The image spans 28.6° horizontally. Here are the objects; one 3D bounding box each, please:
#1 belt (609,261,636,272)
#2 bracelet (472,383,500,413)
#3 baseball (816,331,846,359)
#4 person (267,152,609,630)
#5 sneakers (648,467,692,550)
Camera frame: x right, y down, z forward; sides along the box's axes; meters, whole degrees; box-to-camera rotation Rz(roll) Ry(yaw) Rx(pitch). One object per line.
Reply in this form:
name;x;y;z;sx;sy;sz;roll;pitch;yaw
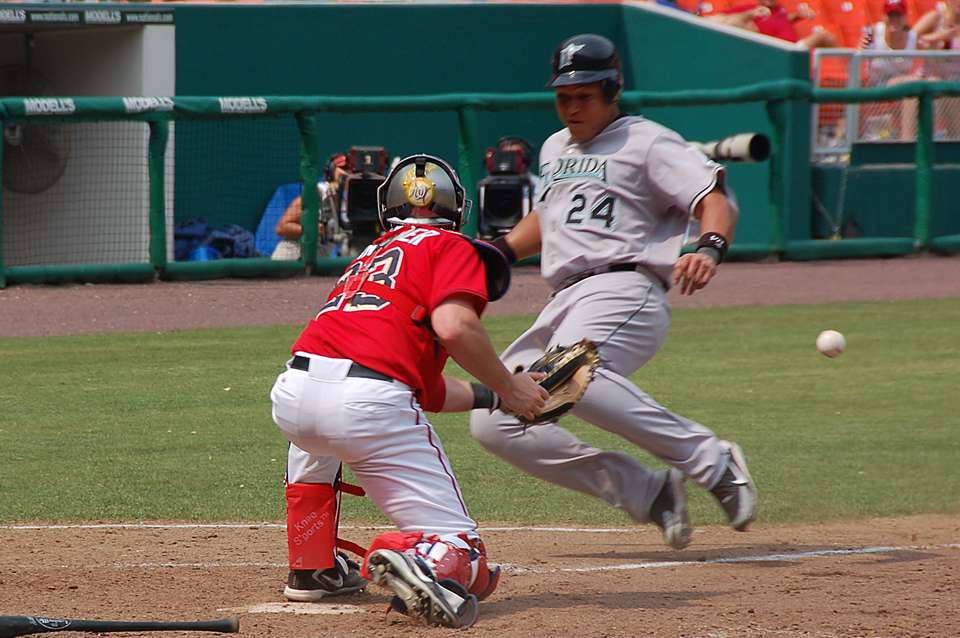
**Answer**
belt;0.931;-0.336;12.056;0.181;0.061;0.017;0;4;-3
bracelet;0.051;0.495;11.577;0.134;0.159;0.177;50;0;28
baseball;2.818;0.219;14.977;0.164;0.146;0.174;35;2;-42
person;-0.408;0.439;11.449;1.680;2.864;0.600;0;4;1
sneakers;1.236;1.233;12.092;0.245;0.230;0.664;43;-12;28
